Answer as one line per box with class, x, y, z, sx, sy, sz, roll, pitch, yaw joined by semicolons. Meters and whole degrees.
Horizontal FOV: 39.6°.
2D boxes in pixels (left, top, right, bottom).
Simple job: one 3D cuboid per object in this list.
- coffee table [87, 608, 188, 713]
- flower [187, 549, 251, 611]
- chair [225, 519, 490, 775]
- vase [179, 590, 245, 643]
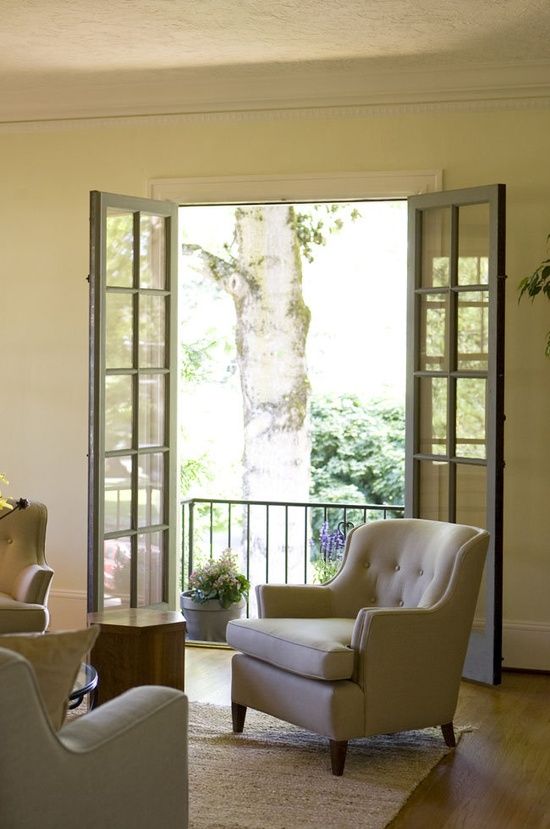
coffee table;-0.563;0.964;2.996;0.343;0.344;0.337;6;3;22
flower;-0.389;1.042;4.739;0.249;0.252;0.251;-12;8;26
chair;0.297;0.819;2.963;0.992;0.745;0.978;-1;-7;7
vase;-0.364;1.209;4.725;0.527;0.347;0.506;0;-9;0
